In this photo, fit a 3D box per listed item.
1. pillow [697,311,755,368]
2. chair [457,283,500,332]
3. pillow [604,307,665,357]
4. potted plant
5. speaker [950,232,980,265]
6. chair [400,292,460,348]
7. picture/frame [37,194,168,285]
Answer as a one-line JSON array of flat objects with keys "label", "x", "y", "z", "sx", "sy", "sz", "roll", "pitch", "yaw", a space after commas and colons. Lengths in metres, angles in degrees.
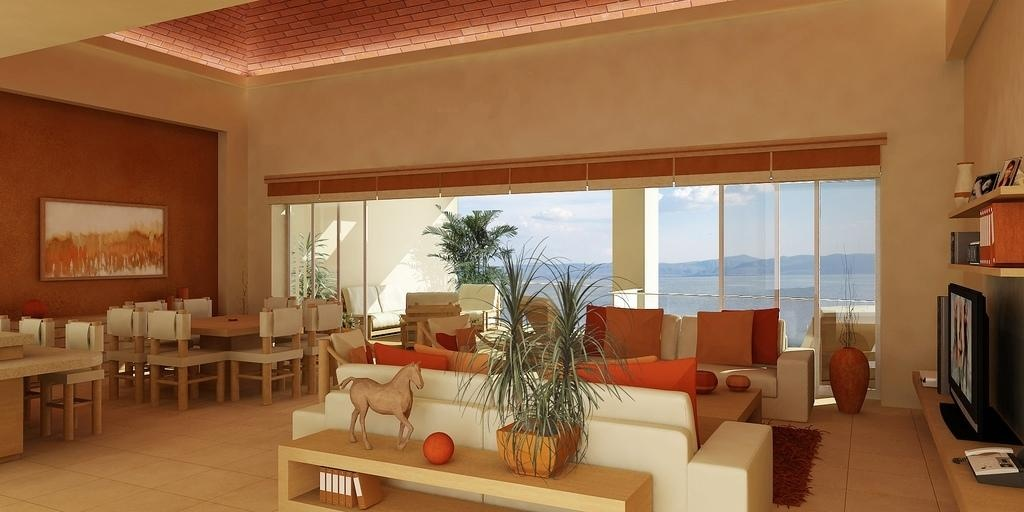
[{"label": "pillow", "x": 3.440, "y": 1.356, "z": 9.826, "sx": 1.037, "sy": 0.864, "sz": 0.331, "roll": 0, "pitch": -9, "yaw": 19}, {"label": "chair", "x": -0.686, "y": 1.056, "z": 12.692, "sx": 1.223, "sy": 0.844, "sz": 0.793, "roll": -2, "pitch": -1, "yaw": 44}, {"label": "pillow", "x": 1.922, "y": 1.198, "z": 9.550, "sx": 1.021, "sy": 0.872, "sz": 0.345, "roll": 0, "pitch": -14, "yaw": 7}, {"label": "potted plant", "x": 0.318, "y": 1.179, "z": 6.559, "sx": 1.236, "sy": 2.369, "sz": 0.645, "roll": -2, "pitch": -2, "yaw": -2}, {"label": "speaker", "x": 5.758, "y": -0.101, "z": 7.821, "sx": 0.512, "sy": 0.426, "sz": 0.357, "roll": 1, "pitch": -2, "yaw": -35}, {"label": "chair", "x": -1.690, "y": 1.334, "z": 13.142, "sx": 1.347, "sy": 0.988, "sz": 1.161, "roll": 0, "pitch": -1, "yaw": -1}, {"label": "picture/frame", "x": -7.696, "y": -0.309, "z": 11.420, "sx": 2.105, "sy": 1.295, "sz": 0.083, "roll": 1, "pitch": 0, "yaw": -38}]
